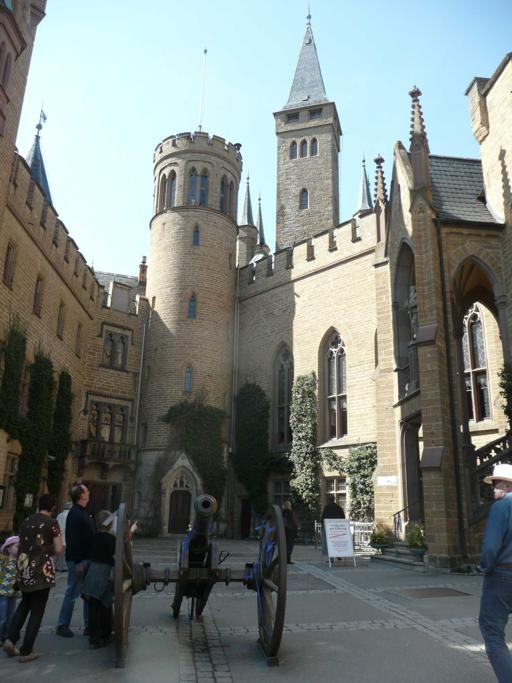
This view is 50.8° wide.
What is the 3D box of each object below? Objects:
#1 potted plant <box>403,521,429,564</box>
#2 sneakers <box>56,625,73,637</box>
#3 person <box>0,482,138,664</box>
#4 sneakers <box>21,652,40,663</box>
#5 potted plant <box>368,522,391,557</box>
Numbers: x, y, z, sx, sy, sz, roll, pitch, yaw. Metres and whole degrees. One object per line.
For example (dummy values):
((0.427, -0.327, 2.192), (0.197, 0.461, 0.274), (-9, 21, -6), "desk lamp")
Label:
((3.708, 4.641, 12.456), (0.407, 0.781, 0.978), (-5, -17, 14), "potted plant")
((-1.822, 2.758, 5.152), (0.151, 0.119, 0.080), (3, -11, -6), "sneakers")
((-1.860, 2.007, 4.900), (0.545, 1.395, 1.383), (2, -16, -9), "person")
((-1.737, 2.409, 4.138), (0.112, 0.055, 0.048), (7, -5, -42), "sneakers")
((3.358, 5.414, 14.775), (0.592, 0.785, 0.602), (0, -5, -36), "potted plant")
